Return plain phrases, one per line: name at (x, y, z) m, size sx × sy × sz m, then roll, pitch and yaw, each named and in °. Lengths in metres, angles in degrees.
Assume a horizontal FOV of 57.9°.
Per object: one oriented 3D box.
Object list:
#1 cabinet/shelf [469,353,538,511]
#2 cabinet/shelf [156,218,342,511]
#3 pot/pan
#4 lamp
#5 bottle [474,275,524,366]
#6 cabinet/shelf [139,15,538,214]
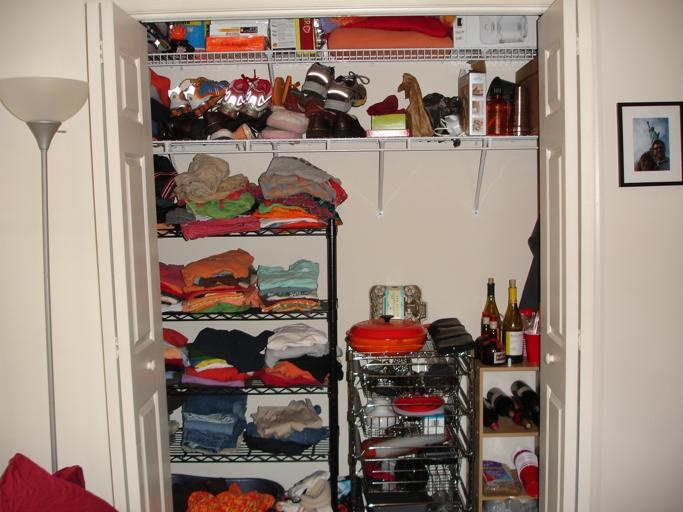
cabinet/shelf at (0.813, 0.827, 3.019) m, size 0.278 × 0.711 × 0.521 m, roll 0°, pitch 6°, yaw 17°
cabinet/shelf at (-0.461, 0.537, 3.096) m, size 0.934 × 1.431 × 0.552 m, roll -2°, pitch 6°, yaw 0°
pot/pan at (0.217, 0.357, 2.918) m, size 0.381 × 0.133 × 0.369 m, roll 1°, pitch 8°, yaw 18°
lamp at (-1.126, 0.073, 2.462) m, size 0.299 × 1.511 × 0.307 m, roll -5°, pitch 7°, yaw -26°
bottle at (0.751, 0.295, 2.924) m, size 0.223 × 0.374 × 0.305 m, roll 0°, pitch 6°, yaw 13°
cabinet/shelf at (-0.285, -0.937, 3.789) m, size 0.419 × 0.524 × 2.711 m, roll -25°, pitch 27°, yaw -37°
